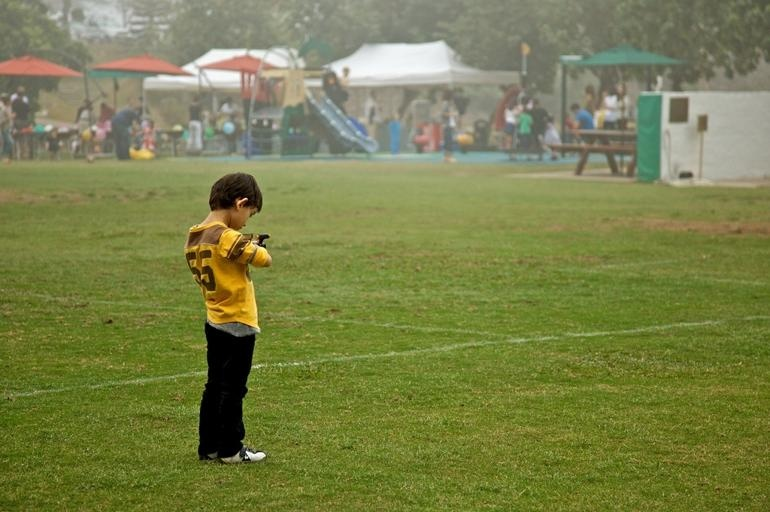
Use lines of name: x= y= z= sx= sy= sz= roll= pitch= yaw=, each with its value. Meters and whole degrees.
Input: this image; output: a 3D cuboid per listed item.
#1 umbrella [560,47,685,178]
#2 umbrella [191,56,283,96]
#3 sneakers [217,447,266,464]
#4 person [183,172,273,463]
umbrella: x=3.798 y=-2.399 z=24.199 sx=2.136 sy=1.676 sz=2.023 roll=-1 pitch=5 yaw=-1
umbrella: x=-2.359 y=-3.068 z=24.196 sx=0.936 sy=0.355 sz=0.837 roll=1 pitch=1 yaw=35
sneakers: x=-1.405 y=1.989 z=14.525 sx=0.487 sy=0.175 sz=0.167 roll=-3 pitch=0 yaw=-8
person: x=-1.516 y=0.632 z=14.317 sx=0.796 sy=2.838 sz=0.407 roll=1 pitch=3 yaw=-5
